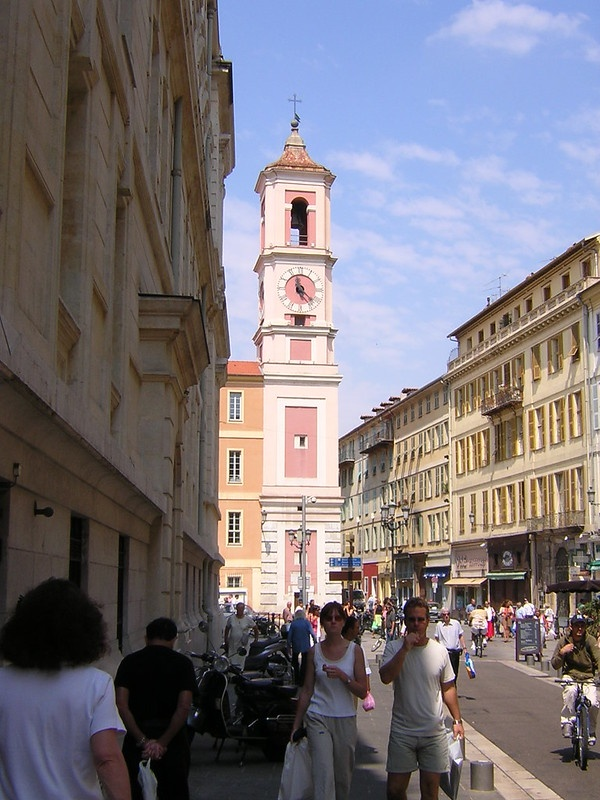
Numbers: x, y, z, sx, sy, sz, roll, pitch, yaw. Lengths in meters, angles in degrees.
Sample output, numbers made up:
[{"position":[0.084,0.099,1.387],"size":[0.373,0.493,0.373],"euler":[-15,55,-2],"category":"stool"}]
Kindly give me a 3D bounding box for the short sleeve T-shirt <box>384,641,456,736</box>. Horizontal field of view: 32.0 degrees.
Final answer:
[{"position":[0.755,1.844,6.710],"size":[0.415,0.697,0.244],"euler":[-1,-34,4],"category":"short sleeve T-shirt"}]

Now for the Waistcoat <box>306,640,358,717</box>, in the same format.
[{"position":[0.208,1.678,6.426],"size":[0.209,0.488,0.158],"euler":[1,-14,9],"category":"Waistcoat"}]

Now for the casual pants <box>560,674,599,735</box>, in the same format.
[{"position":[3.005,3.272,11.458],"size":[0.330,0.550,0.775],"euler":[3,-21,-2],"category":"casual pants"}]
